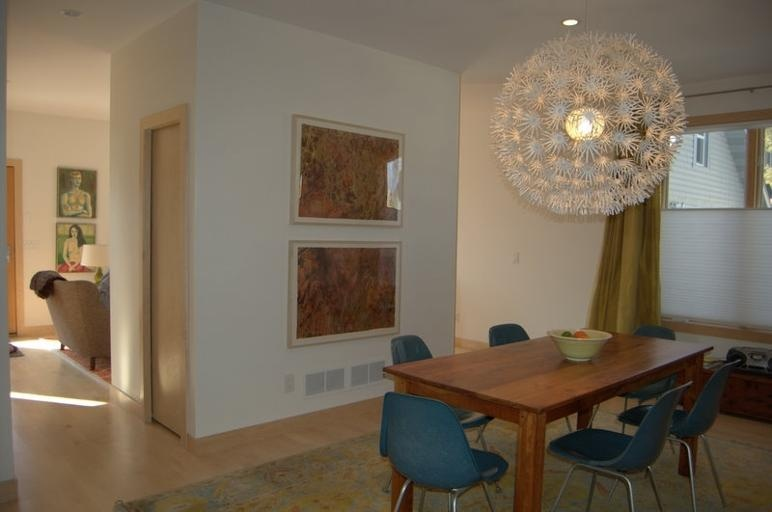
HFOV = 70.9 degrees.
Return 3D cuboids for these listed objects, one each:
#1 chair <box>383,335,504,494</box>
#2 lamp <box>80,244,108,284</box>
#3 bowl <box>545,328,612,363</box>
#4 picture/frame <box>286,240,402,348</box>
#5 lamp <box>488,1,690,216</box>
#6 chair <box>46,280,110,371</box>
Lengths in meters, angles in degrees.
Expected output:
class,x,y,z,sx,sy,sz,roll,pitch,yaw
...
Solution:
class,x,y,z,sx,sy,sz,roll,pitch,yaw
chair,0.412,1.191,4.681,1.101,1.529,1.024,-6,-5,29
lamp,-4.257,0.096,7.969,0.320,0.631,0.851,-6,13,-29
bowl,1.476,0.677,4.180,0.470,0.178,0.475,6,-17,2
picture/frame,-0.465,0.365,5.417,1.125,0.861,0.024,0,1,-35
lamp,1.565,-0.813,4.329,1.521,1.002,1.475,1,4,30
chair,-3.841,0.850,6.814,0.589,0.714,1.015,-4,7,-41
